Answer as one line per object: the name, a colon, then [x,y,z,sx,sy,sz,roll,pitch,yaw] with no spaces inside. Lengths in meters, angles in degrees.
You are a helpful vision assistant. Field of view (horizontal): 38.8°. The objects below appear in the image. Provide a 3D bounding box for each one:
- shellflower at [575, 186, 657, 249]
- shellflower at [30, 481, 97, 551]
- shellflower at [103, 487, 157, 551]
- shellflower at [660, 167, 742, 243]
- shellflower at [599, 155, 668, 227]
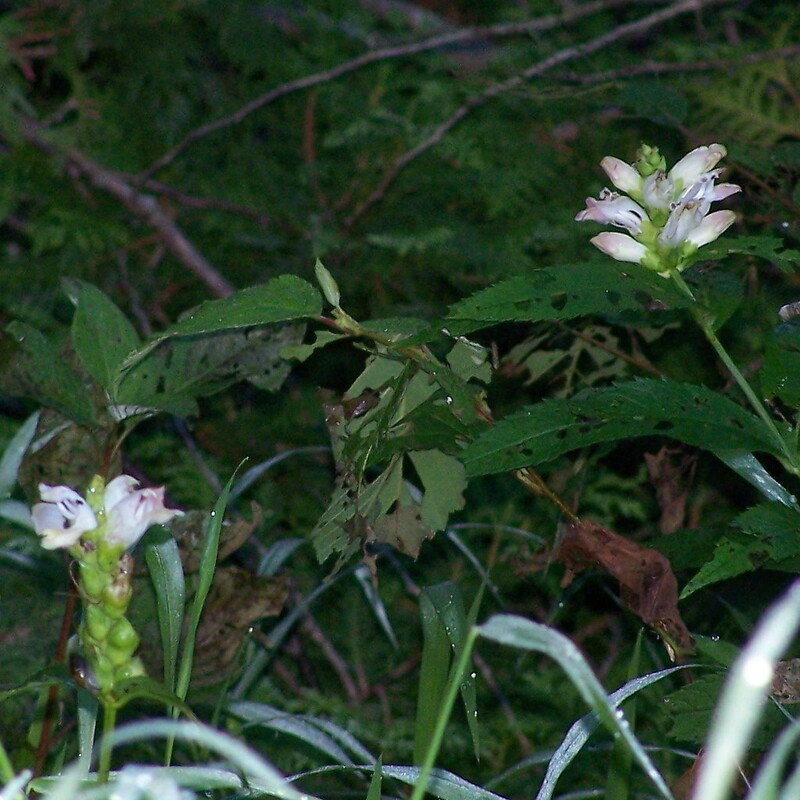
shellflower: [0.223,-0.196,1.203,0.094,0.042,0.031,11,-24,-31]
shellflower: [-0.297,0.103,1.015,0.062,0.060,0.026,30,12,32]
shellflower: [-0.230,0.108,1.031,0.058,0.019,0.050,-3,42,25]
shellflower: [0.307,-0.197,1.173,0.067,0.085,0.041,12,20,-7]
shellflower: [0.249,-0.222,1.184,0.051,0.032,0.090,3,23,-43]
